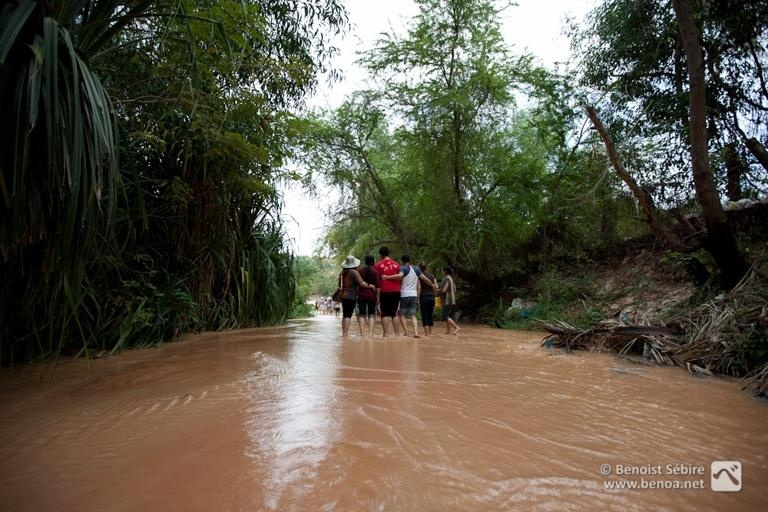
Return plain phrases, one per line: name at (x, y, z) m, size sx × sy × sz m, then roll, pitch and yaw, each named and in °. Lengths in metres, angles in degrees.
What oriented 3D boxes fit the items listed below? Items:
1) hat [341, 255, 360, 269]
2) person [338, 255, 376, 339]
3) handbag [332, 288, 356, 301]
hat at (-0.821, 0.128, 12.641) m, size 0.389 × 0.364 × 0.594 m, roll -1°, pitch 11°, yaw -7°
person at (-0.746, 1.024, 12.889) m, size 0.741 × 2.214 × 0.910 m, roll -1°, pitch 11°, yaw -7°
handbag at (-1.046, 0.977, 12.878) m, size 0.406 × 0.207 × 0.330 m, roll 1°, pitch 2°, yaw -26°
